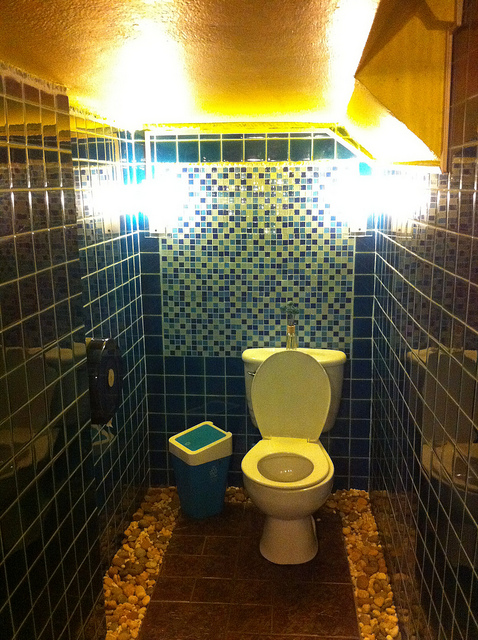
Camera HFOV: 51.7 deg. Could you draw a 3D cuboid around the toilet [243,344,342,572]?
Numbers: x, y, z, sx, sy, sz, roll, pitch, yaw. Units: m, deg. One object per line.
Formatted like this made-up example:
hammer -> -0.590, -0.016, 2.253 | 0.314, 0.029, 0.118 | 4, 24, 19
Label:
toilet -> 0.272, 0.703, 2.645 | 0.442, 1.015, 0.881 | 1, 12, 9
